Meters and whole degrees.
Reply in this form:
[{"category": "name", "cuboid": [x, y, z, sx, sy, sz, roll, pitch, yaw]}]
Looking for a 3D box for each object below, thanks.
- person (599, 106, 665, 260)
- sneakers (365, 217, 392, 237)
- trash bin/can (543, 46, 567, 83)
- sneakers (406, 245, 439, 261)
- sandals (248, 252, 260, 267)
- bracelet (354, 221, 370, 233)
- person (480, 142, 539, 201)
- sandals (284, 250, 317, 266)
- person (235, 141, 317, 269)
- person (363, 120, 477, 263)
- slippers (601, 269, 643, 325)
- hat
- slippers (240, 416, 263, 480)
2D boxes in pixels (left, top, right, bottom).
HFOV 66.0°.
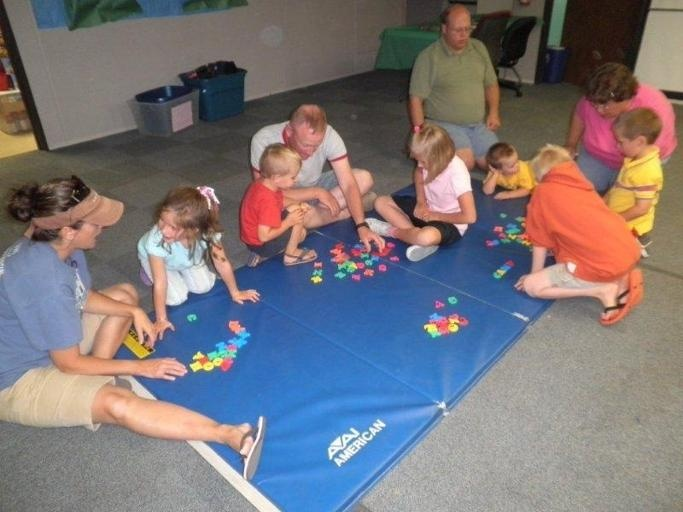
[{"category": "person", "cuboid": [2.280, -0.580, 4.113, 0.487, 1.330, 0.466, -3, 50, 31]}, {"category": "sneakers", "cuboid": [0.317, -0.249, 4.531, 0.271, 0.113, 0.096, 16, 45, 38]}, {"category": "trash bin/can", "cuboid": [3.539, -3.194, 8.721, 0.409, 0.581, 0.395, -14, 32, -20]}, {"category": "sneakers", "cuboid": [0.641, -0.028, 4.220, 0.299, 0.096, 0.115, -3, 12, -40]}, {"category": "sandals", "cuboid": [-0.690, 0.033, 4.163, 0.063, 0.130, 0.059, 30, -7, -7]}, {"category": "bracelet", "cuboid": [0.179, -0.247, 4.374, 0.117, 0.078, 0.125, -2, 4, 35]}, {"category": "person", "cuboid": [1.603, -0.791, 5.132, 0.581, 0.791, 0.540, 0, 71, 21]}, {"category": "sandals", "cuboid": [-0.326, 0.011, 4.195, 0.205, 0.072, 0.127, -8, 32, -10]}, {"category": "person", "cuboid": [-0.480, -0.374, 4.126, 0.669, 0.964, 0.485, -10, 57, -15]}, {"category": "person", "cuboid": [0.698, -0.593, 4.275, 0.854, 0.959, 0.745, -14, 36, -17]}, {"category": "slippers", "cuboid": [1.919, 0.298, 3.552, 0.119, 0.451, 0.208, 21, 31, 4]}, {"category": "hat", "cuboid": [-1.402, -0.239, 2.809, 0.417, 0.128, 0.265, -19, 37, -29]}, {"category": "slippers", "cuboid": [-0.457, 1.008, 2.776, 0.104, 0.271, 0.095, 6, 2, 8]}]
